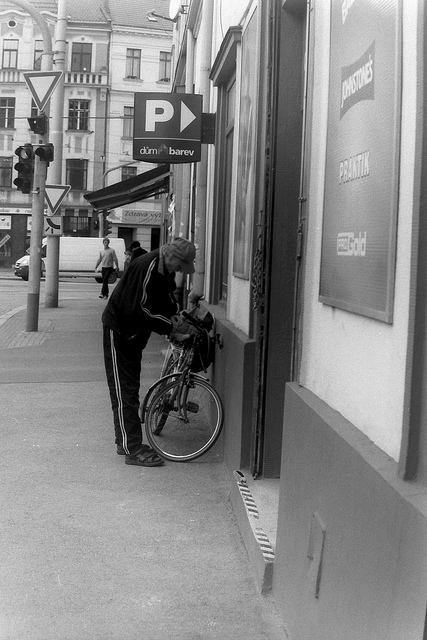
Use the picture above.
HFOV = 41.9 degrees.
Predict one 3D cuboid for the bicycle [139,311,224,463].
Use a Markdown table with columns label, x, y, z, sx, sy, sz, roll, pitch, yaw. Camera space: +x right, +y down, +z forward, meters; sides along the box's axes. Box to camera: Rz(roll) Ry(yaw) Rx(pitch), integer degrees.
| label | x | y | z | sx | sy | sz | roll | pitch | yaw |
| --- | --- | --- | --- | --- | --- | --- | --- | --- | --- |
| bicycle | -0.518 | 0.620 | 5.522 | 0.425 | 1.267 | 1.722 | 25 | -12 | -30 |

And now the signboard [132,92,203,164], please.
| label | x | y | z | sx | sy | sz | roll | pitch | yaw |
| --- | --- | --- | --- | --- | --- | --- | --- | --- | --- |
| signboard | -0.527 | -2.238 | 6.504 | 0.649 | 0.767 | 0.075 | 2 | 5 | 0 |

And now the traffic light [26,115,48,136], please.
| label | x | y | z | sx | sy | sz | roll | pitch | yaw |
| --- | --- | --- | --- | --- | --- | --- | --- | --- | --- |
| traffic light | -3.797 | -4.072 | 11.767 | 0.327 | 0.545 | 0.408 | 7 | 22 | 14 |

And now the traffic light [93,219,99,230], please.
| label | x | y | z | sx | sy | sz | roll | pitch | yaw |
| --- | --- | --- | --- | --- | --- | --- | --- | --- | --- |
| traffic light | -9.029 | -7.249 | 42.539 | 0.433 | 0.759 | 0.298 | 2 | 0 | 0 |

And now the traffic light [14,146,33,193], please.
| label | x | y | z | sx | sy | sz | roll | pitch | yaw |
| --- | --- | --- | --- | --- | --- | --- | --- | --- | --- |
| traffic light | -4.098 | -3.229 | 11.976 | 0.362 | 0.957 | 0.481 | 2 | 0 | -20 |

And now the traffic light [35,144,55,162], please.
| label | x | y | z | sx | sy | sz | roll | pitch | yaw |
| --- | --- | --- | --- | --- | --- | --- | --- | --- | --- |
| traffic light | -3.514 | -3.466 | 11.659 | 0.410 | 0.503 | 0.307 | 7 | 12 | 12 |

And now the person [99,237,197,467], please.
| label | x | y | z | sx | sy | sz | roll | pitch | yaw |
| --- | --- | --- | --- | --- | --- | --- | --- | --- | --- |
| person | -0.601 | 0.275 | 4.772 | 0.816 | 1.933 | 0.391 | 2 | 0 | 28 |

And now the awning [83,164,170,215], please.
| label | x | y | z | sx | sy | sz | roll | pitch | yaw |
| --- | --- | --- | --- | --- | --- | --- | --- | --- | --- |
| awning | -2.543 | -3.803 | 16.347 | 2.234 | 0.641 | 4.123 | 2 | 1 | -23 |
